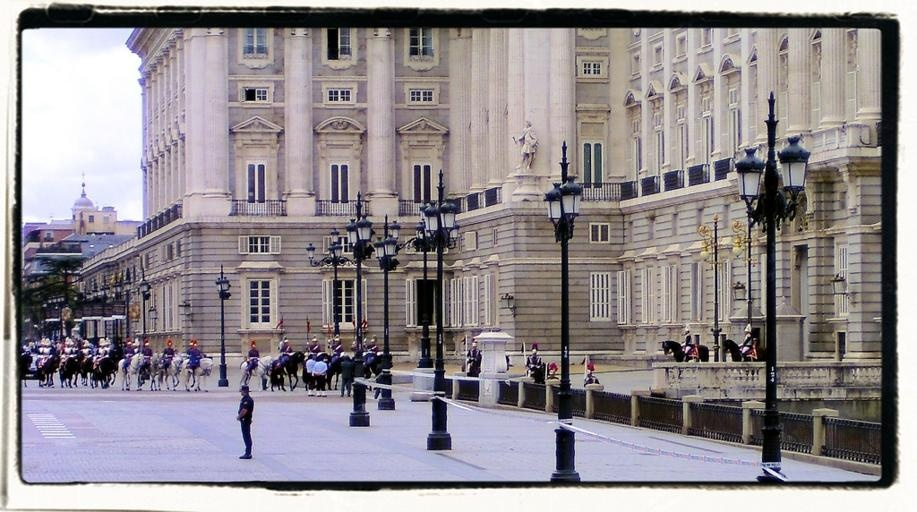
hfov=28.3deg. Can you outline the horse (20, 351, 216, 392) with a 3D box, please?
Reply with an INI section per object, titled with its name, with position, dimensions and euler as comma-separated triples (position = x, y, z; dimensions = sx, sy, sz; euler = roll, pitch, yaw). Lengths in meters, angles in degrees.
[horse]
position = -17.868, 5.998, 93.650
dimensions = 7.017, 2.182, 13.442
euler = 4, -6, -31
